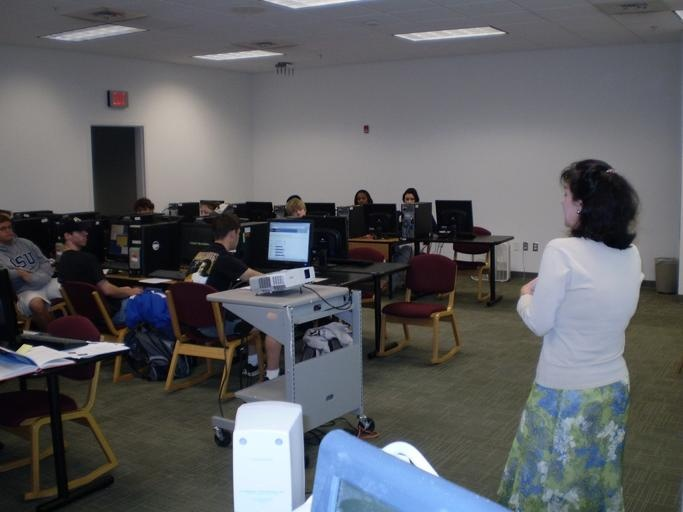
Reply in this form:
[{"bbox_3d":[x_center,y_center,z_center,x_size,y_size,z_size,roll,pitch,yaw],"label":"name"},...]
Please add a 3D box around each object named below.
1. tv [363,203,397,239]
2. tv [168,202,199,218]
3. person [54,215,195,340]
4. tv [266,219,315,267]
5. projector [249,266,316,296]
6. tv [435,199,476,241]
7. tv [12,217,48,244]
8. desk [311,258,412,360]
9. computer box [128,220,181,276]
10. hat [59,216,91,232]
[{"bbox_3d":[0.584,-0.518,7.410,0.488,0.495,0.166,2,9,19],"label":"tv"},{"bbox_3d":[-2.313,-0.679,7.323,0.222,0.284,0.419,1,3,31],"label":"tv"},{"bbox_3d":[-2.237,0.019,4.689,0.693,0.934,0.740,-12,9,2],"label":"person"},{"bbox_3d":[-0.457,-0.123,4.514,0.404,0.405,0.136,6,10,24],"label":"tv"},{"bbox_3d":[-0.391,0.155,3.030,0.271,0.108,0.205,-1,5,33],"label":"projector"},{"bbox_3d":[1.635,-0.509,7.228,0.578,0.592,0.209,3,11,24],"label":"tv"},{"bbox_3d":[-3.518,-0.297,5.666,0.380,0.279,0.406,2,2,44],"label":"tv"},{"bbox_3d":[0.120,0.355,4.703,1.090,0.553,0.844,6,14,33],"label":"desk"},{"bbox_3d":[-2.010,-0.116,5.325,0.307,0.527,0.542,4,9,32],"label":"computer box"},{"bbox_3d":[-2.694,-0.324,5.007,0.323,0.173,0.240,1,1,-13],"label":"hat"}]
